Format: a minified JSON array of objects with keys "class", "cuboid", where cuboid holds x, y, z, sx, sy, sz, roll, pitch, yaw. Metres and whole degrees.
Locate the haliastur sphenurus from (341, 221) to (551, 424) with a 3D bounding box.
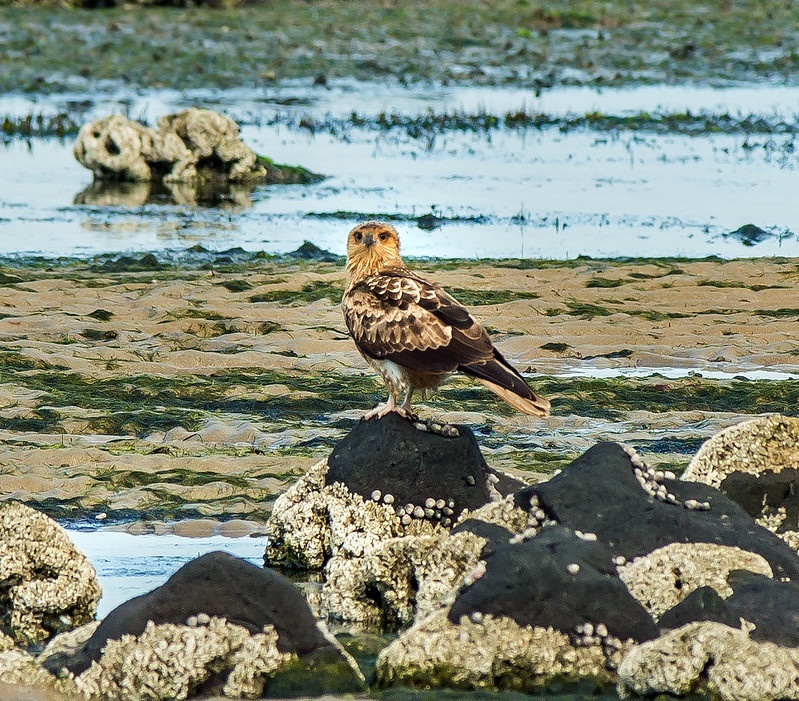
[{"class":"haliastur sphenurus","cuboid":[0.537,-0.351,25.990,2.099,2.712,2.701,4,14,25]}]
